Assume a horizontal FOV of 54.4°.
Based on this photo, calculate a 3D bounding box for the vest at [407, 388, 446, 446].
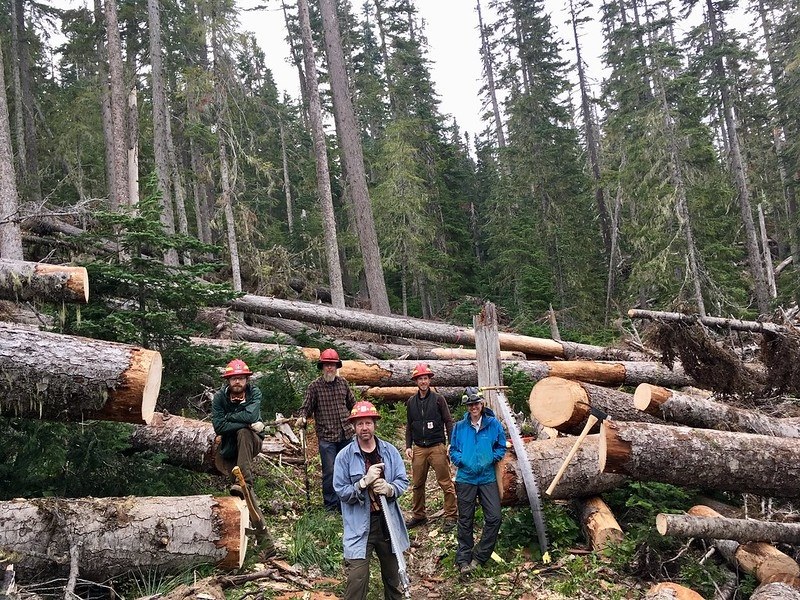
[{"bbox_3d":[0.525,2.352,15.270,0.878,1.092,0.589,-4,-14,11],"label":"vest"}]

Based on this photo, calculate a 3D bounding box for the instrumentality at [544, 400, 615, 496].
[{"bbox_3d":[3.191,2.679,14.054,0.740,2.036,0.208,26,2,-15],"label":"instrumentality"}]

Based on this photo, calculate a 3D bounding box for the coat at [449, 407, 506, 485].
[{"bbox_3d":[1.414,2.687,14.086,1.265,1.859,0.874,0,-30,5],"label":"coat"}]

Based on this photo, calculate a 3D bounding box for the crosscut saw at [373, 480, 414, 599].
[{"bbox_3d":[-0.069,3.853,12.499,0.319,2.438,0.262,-11,-22,-7],"label":"crosscut saw"}]

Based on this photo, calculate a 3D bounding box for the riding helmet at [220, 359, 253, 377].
[{"bbox_3d":[-3.161,1.315,14.908,0.473,0.380,0.679,-2,-12,-11],"label":"riding helmet"}]

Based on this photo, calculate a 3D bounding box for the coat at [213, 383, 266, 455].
[{"bbox_3d":[-2.917,2.170,14.058,0.787,1.323,0.781,-2,-11,-20],"label":"coat"}]

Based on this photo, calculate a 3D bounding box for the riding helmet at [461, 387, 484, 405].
[{"bbox_3d":[1.330,1.748,14.111,0.273,0.233,0.380,-6,-11,9],"label":"riding helmet"}]

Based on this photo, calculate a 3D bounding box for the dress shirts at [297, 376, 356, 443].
[{"bbox_3d":[-1.471,2.222,15.586,1.437,1.413,0.552,-5,-13,-20],"label":"dress shirts"}]
